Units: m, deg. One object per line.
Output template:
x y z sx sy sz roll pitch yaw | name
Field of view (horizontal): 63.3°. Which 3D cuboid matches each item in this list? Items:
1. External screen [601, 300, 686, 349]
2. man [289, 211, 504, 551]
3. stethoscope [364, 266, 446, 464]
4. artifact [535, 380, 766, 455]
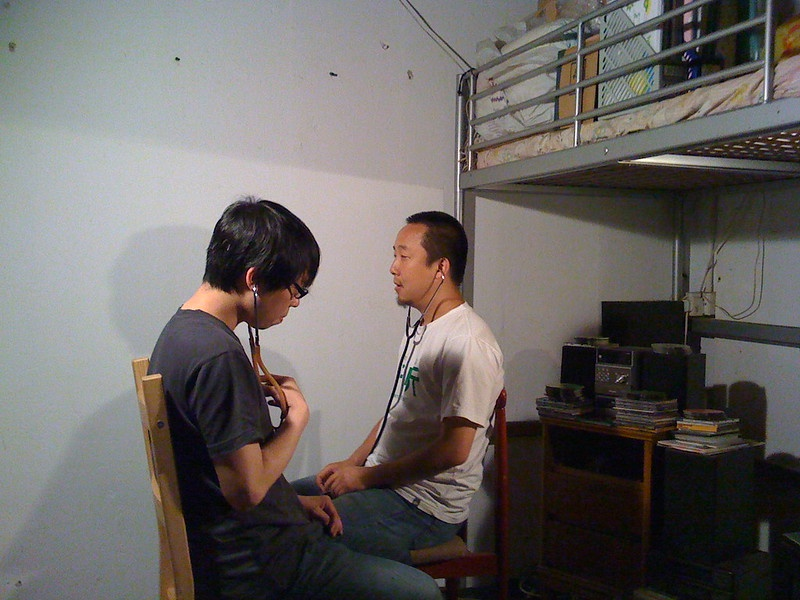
1.439 0.136 3.873 0.479 0.201 0.198 3 2 22 | External screen
0.074 0.428 3.565 1.237 2.087 1.181 6 -6 -5 | man
0.022 0.300 2.952 0.042 0.932 0.277 23 -9 -21 | stethoscope
1.310 0.609 3.478 1.022 0.234 0.336 4 2 37 | artifact
